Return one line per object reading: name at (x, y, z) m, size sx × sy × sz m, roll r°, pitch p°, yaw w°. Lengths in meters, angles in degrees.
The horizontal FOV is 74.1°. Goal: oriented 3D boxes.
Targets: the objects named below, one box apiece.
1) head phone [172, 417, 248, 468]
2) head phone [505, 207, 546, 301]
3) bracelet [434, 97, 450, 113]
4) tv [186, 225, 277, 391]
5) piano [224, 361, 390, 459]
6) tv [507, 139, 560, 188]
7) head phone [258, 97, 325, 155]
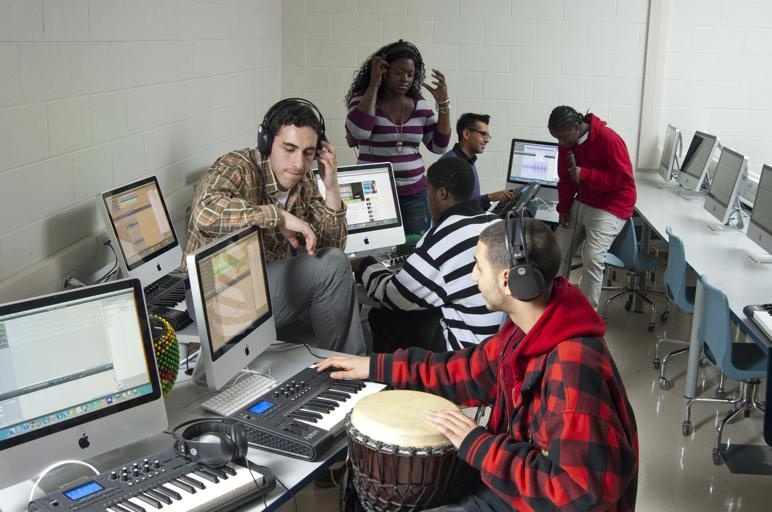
head phone at (-0.542, 0.576, 1.600) m, size 0.228 × 0.111 × 0.206 m, roll 1°, pitch -2°, yaw 29°
head phone at (0.448, 0.010, 1.701) m, size 0.108 × 0.282 × 0.300 m, roll -11°, pitch -10°, yaw 16°
bracelet at (0.470, -1.202, 4.178) m, size 0.122 × 0.109 × 0.065 m, roll -36°, pitch -17°, yaw 2°
tv at (-0.592, 0.207, 1.961) m, size 0.158 × 0.484 × 0.477 m, roll 2°, pitch 22°, yaw 18°
piano at (-0.264, 0.535, 1.762) m, size 0.228 × 0.095 × 0.345 m, roll 8°, pitch 20°, yaw 21°
tv at (1.478, -0.912, 5.070) m, size 0.694 × 0.551 × 0.077 m, roll 7°, pitch 16°, yaw 20°
head phone at (-0.417, -0.557, 2.255) m, size 0.288 × 0.248 × 0.203 m, roll -6°, pitch 20°, yaw -17°
